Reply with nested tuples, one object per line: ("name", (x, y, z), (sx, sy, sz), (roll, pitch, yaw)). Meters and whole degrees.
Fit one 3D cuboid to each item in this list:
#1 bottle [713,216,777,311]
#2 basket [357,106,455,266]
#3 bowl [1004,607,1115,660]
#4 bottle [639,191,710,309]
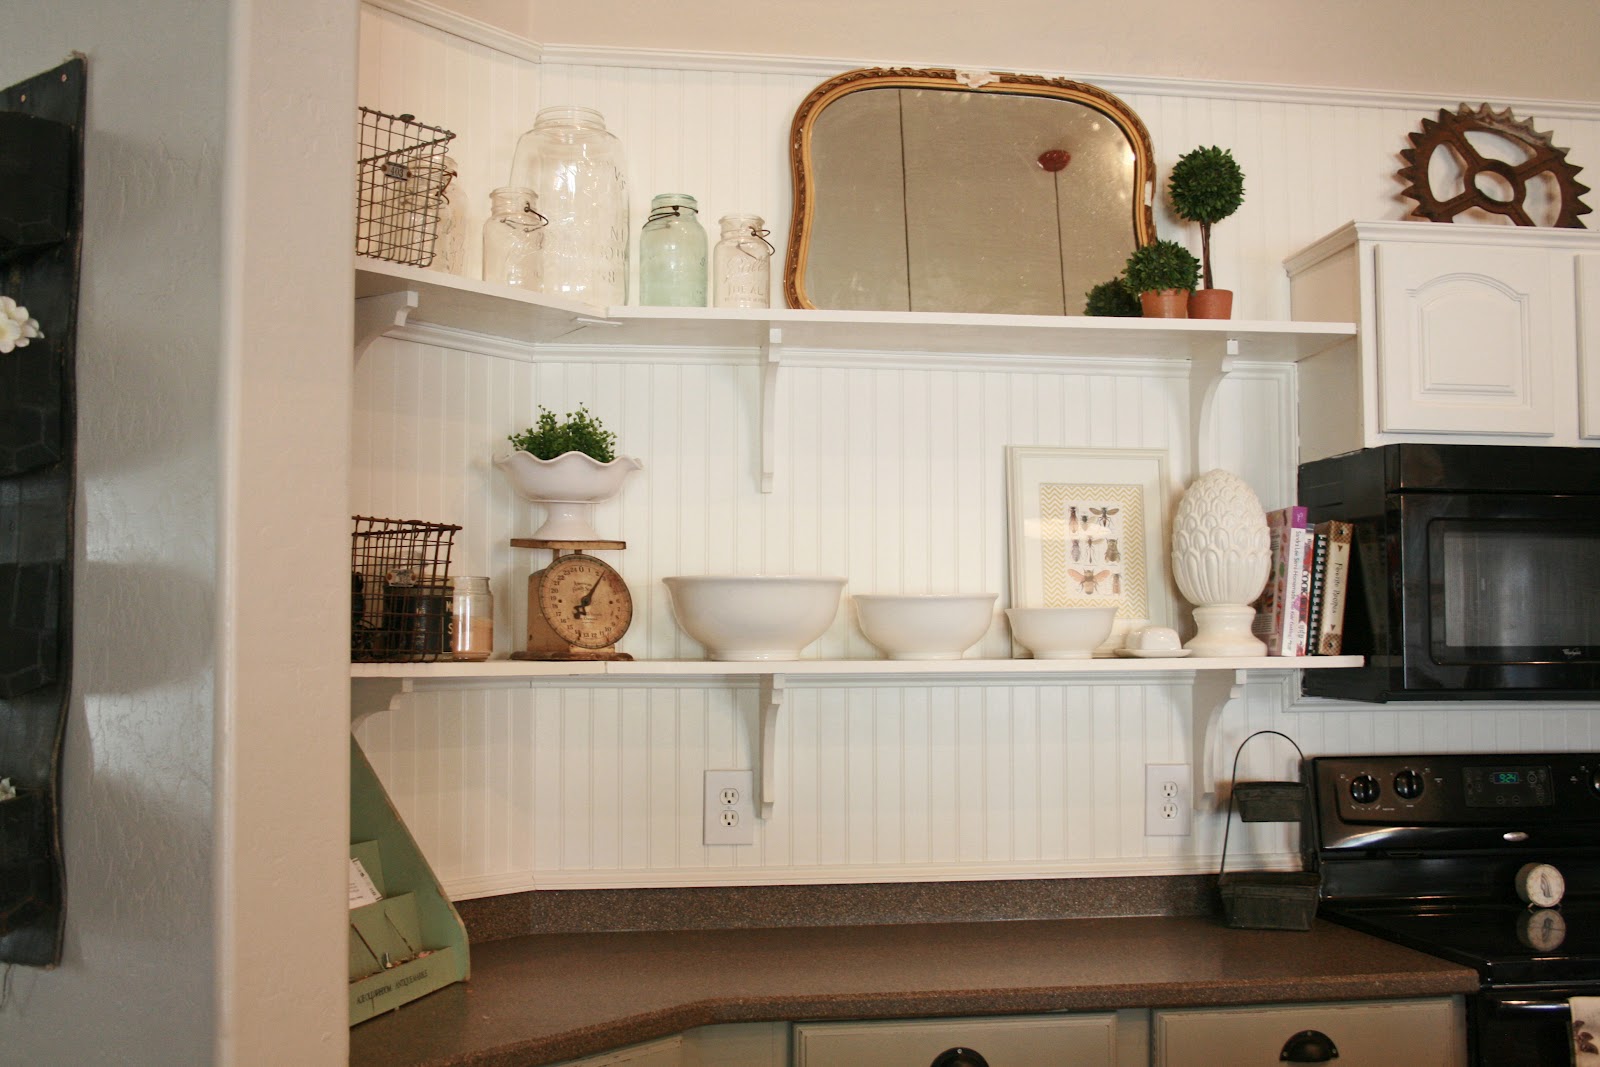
("bottle", (-0.138, -0.605, 3.229), (0.130, 0.218, 0.137), (2, 3, 0))
("basket", (-0.829, -0.731, 2.987), (0.217, 0.255, 0.190), (10, 2, 12))
("bowl", (0.573, 0.227, 3.184), (0.206, 0.151, 0.138), (12, 17, 37))
("bottle", (-0.280, -0.636, 3.143), (0.151, 0.239, 0.148), (1, 14, 0))
